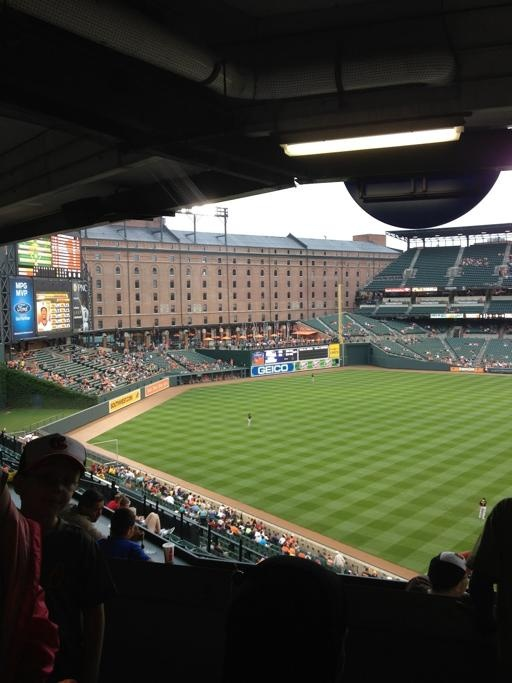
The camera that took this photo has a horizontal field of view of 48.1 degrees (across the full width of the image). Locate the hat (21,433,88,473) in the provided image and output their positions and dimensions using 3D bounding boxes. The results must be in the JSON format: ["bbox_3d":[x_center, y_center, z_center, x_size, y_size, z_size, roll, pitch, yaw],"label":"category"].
[{"bbox_3d":[-0.972,0.544,2.736,0.301,0.194,0.263,-3,4,-20],"label":"hat"}]

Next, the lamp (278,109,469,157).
[{"bbox_3d":[0.812,-1.429,4.081,1.273,0.103,0.249,0,4,23],"label":"lamp"}]
